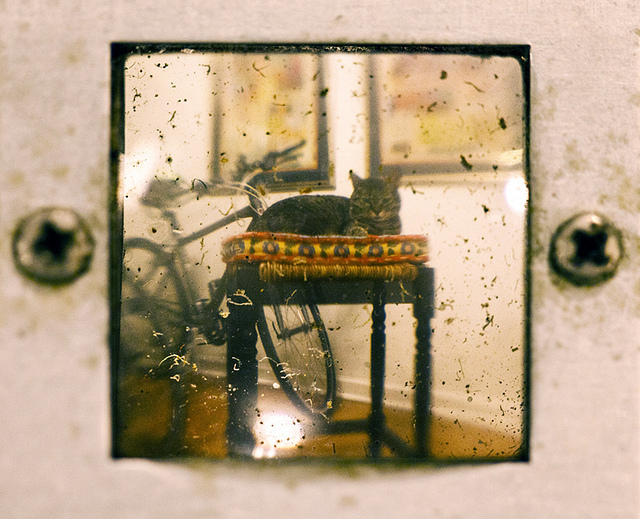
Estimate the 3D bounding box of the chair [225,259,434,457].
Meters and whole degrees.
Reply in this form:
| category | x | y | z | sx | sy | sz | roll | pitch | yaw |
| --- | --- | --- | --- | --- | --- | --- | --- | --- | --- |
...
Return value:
| category | x | y | z | sx | sy | sz | roll | pitch | yaw |
| --- | --- | --- | --- | --- | --- | --- | --- | --- | --- |
| chair | 0.021 | 0.268 | 3.116 | 0.573 | 0.472 | 0.661 | 1 | 89 | -2 |

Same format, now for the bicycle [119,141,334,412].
| category | x | y | z | sx | sy | sz | roll | pitch | yaw |
| --- | --- | --- | --- | --- | --- | --- | --- | --- | --- |
| bicycle | -0.275 | 0.115 | 2.963 | 0.558 | 0.066 | 0.703 | -11 | 84 | -1 |
